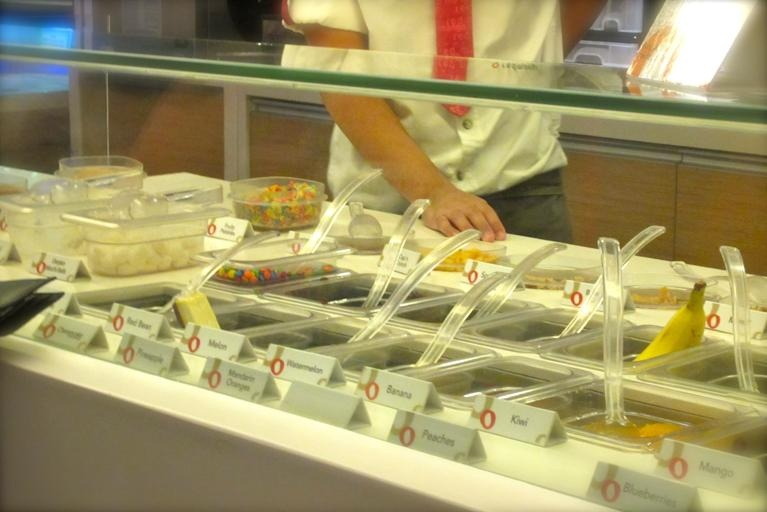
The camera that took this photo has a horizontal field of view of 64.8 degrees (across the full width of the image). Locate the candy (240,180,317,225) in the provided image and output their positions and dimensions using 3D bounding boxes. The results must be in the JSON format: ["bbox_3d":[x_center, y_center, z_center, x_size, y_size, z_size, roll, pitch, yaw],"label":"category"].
[{"bbox_3d":[-0.260,-0.161,1.678,0.218,0.135,0.190,3,16,37],"label":"candy"}]

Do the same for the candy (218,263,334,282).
[{"bbox_3d":[-0.203,0.039,1.184,0.232,0.035,0.075,3,15,-17],"label":"candy"}]
